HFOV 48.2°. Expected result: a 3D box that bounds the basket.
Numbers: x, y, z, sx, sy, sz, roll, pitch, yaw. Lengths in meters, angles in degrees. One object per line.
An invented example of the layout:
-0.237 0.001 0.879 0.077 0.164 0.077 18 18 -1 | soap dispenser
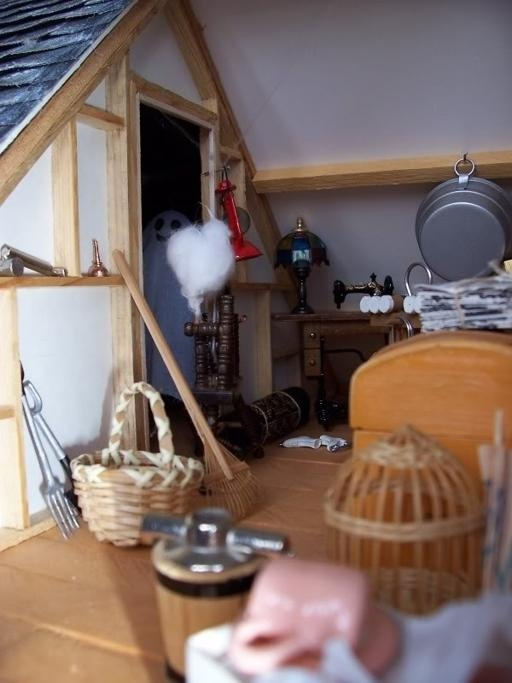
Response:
-0.369 0.380 1.815 0.390 0.438 0.376 -7 -10 42 | basket

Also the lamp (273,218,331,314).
0.298 -0.509 3.831 0.343 0.641 0.544 -1 3 3 | lamp
